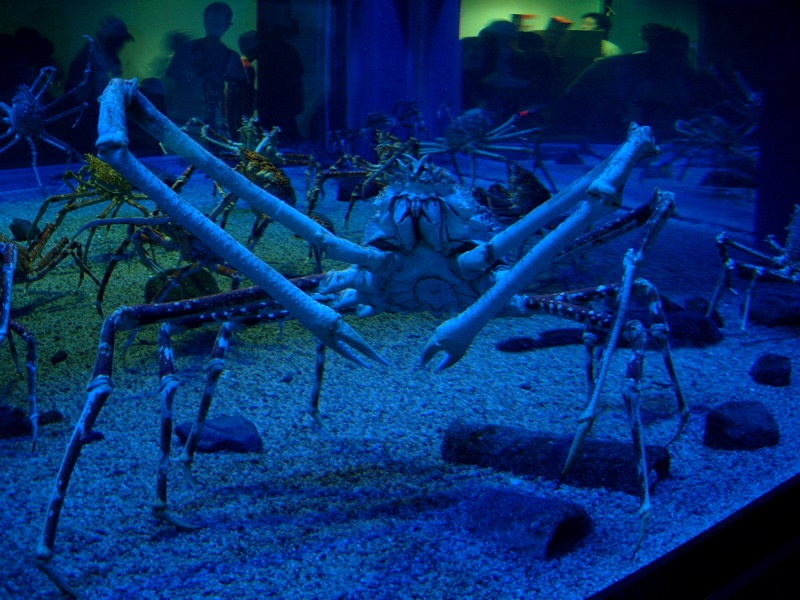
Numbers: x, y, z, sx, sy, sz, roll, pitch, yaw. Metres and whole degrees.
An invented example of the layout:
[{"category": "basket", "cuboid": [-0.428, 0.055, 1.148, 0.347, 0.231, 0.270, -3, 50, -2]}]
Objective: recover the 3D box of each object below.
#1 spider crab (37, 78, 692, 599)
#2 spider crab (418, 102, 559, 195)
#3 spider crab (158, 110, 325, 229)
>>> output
[{"category": "spider crab", "cuboid": [-0.087, 0.022, 2.237, 1.850, 0.888, 1.319, 0, -4, -1]}, {"category": "spider crab", "cuboid": [0.335, -0.625, 2.869, 0.386, 0.139, 0.440, -15, 13, -41]}, {"category": "spider crab", "cuboid": [-0.677, -0.619, 3.180, 0.565, 0.155, 0.505, 21, 4, -35]}]
